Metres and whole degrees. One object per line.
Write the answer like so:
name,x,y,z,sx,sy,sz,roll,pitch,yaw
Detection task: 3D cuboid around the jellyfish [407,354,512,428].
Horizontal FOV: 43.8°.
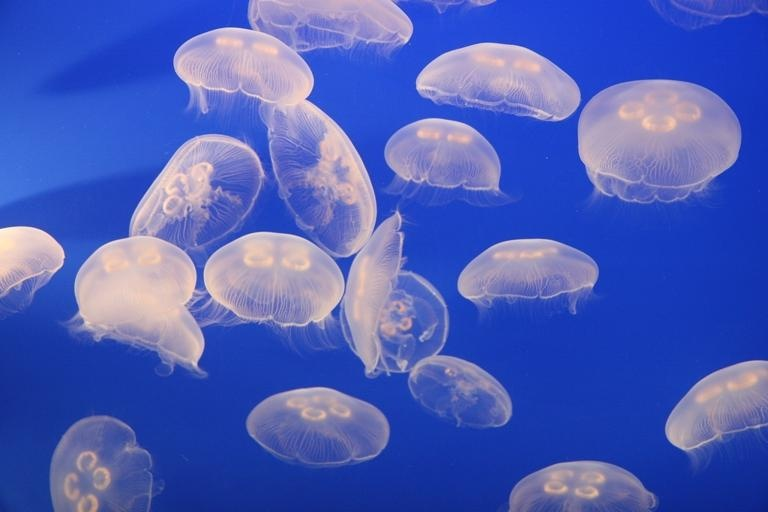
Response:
jellyfish,0.700,1.269,8.809,0.825,0.691,0.662,-5,13,10

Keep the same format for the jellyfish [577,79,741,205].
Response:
jellyfish,2.494,-1.112,8.683,1.399,0.969,0.180,-1,1,5
